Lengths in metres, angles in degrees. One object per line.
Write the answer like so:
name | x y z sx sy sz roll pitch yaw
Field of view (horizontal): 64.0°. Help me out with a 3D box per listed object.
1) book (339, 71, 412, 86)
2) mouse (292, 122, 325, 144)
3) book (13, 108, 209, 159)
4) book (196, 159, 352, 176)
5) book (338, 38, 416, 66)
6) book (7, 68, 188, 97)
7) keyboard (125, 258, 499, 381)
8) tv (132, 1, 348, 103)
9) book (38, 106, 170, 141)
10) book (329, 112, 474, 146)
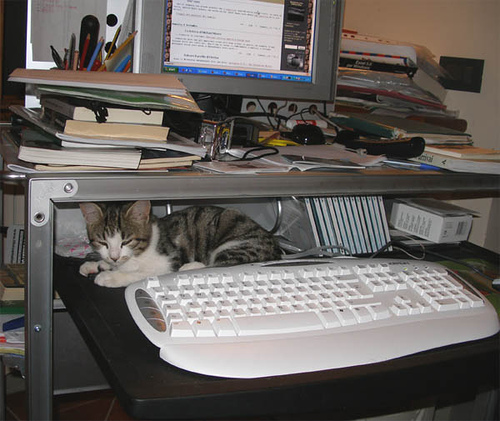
book | 0.425 -0.443 1.351 0.267 0.045 0.036 -2 16 -10
mouse | 0.156 -0.201 1.064 0.084 0.051 0.046 2 16 8
book | -0.208 -0.150 0.708 0.245 0.022 0.233 2 27 -6
book | 0.023 -0.090 0.790 0.276 0.018 0.177 -8 16 -29
book | 0.434 -0.538 1.353 0.051 0.077 0.338 -15 30 -27
book | -0.241 -0.209 0.654 0.275 0.047 0.155 -2 14 -7
keyboard | 0.115 0.143 0.630 0.568 0.083 0.262 -5 15 -20
tv | -0.030 -0.373 0.930 0.501 0.286 0.048 -1 18 -13
book | -0.220 -0.132 0.613 0.156 0.016 0.107 -9 22 -30
book | 0.409 -0.238 1.160 0.245 0.083 0.387 -8 16 -28
